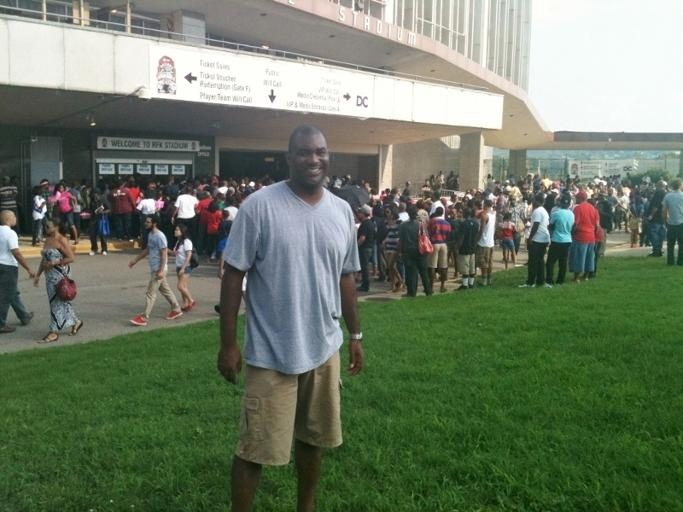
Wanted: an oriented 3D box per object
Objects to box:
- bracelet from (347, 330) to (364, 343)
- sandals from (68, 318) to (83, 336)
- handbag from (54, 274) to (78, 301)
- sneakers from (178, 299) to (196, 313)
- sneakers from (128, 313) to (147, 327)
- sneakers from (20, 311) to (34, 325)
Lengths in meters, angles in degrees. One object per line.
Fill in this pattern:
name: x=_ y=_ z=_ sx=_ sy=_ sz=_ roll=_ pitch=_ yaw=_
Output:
bracelet: x=0.137 y=0.768 z=6.623 sx=0.119 sy=0.079 sz=0.124 roll=-3 pitch=-6 yaw=5
sandals: x=-4.745 y=1.253 z=12.456 sx=0.212 sy=0.244 sz=0.451 roll=-7 pitch=11 yaw=-23
handbag: x=-4.723 y=0.524 z=12.023 sx=0.387 sy=0.609 sz=0.344 roll=-1 pitch=9 yaw=-29
sneakers: x=-3.108 y=1.055 z=14.158 sx=0.132 sy=0.169 sz=0.340 roll=13 pitch=-24 yaw=-20
sneakers: x=-3.785 y=1.216 z=13.000 sx=0.325 sy=0.170 sz=0.172 roll=9 pitch=-8 yaw=-6
sneakers: x=-5.888 y=1.182 z=13.050 sx=0.092 sy=0.206 sz=0.290 roll=-1 pitch=42 yaw=11
